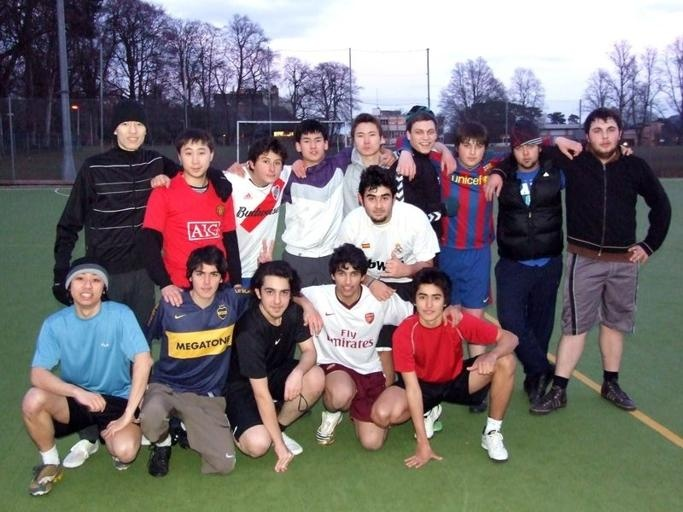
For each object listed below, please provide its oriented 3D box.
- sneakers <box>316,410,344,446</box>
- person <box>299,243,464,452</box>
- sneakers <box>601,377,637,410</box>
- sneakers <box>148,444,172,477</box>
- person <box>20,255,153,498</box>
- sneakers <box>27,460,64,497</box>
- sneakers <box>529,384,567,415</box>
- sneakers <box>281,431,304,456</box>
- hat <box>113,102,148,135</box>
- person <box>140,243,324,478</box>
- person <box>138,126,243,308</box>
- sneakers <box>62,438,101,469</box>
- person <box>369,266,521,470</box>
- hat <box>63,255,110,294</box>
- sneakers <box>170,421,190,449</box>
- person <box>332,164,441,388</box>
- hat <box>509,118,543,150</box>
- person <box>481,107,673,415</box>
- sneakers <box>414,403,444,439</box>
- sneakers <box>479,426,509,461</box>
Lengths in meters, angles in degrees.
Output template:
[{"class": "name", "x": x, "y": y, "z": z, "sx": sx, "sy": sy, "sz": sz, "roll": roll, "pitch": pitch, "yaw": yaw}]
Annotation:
[{"class": "sneakers", "x": -0.107, "y": 1.433, "z": 5.055, "sx": 0.143, "sy": 0.161, "sz": 0.362, "roll": 4, "pitch": 25, "yaw": 12}, {"class": "person", "x": 0.337, "y": 0.844, "z": 5.063, "sx": 1.410, "sy": 1.497, "sz": 0.826, "roll": -1, "pitch": 13, "yaw": -6}, {"class": "sneakers", "x": 2.577, "y": 1.254, "z": 5.491, "sx": 0.131, "sy": 0.294, "sz": 0.387, "roll": -8, "pitch": 15, "yaw": -22}, {"class": "sneakers", "x": -1.443, "y": 1.623, "z": 4.640, "sx": 0.101, "sy": 0.126, "sz": 0.305, "roll": 26, "pitch": 4, "yaw": -19}, {"class": "person", "x": -2.021, "y": 0.927, "z": 4.584, "sx": 0.993, "sy": 1.673, "sz": 0.897, "roll": -5, "pitch": 9, "yaw": -42}, {"class": "sneakers", "x": -2.244, "y": 1.667, "z": 4.471, "sx": 0.132, "sy": 0.159, "sz": 0.351, "roll": -1, "pitch": 17, "yaw": 8}, {"class": "sneakers", "x": 1.919, "y": 1.327, "z": 5.410, "sx": 0.462, "sy": 0.214, "sz": 0.161, "roll": -5, "pitch": 11, "yaw": -38}, {"class": "sneakers", "x": -0.429, "y": 1.566, "z": 4.924, "sx": 0.102, "sy": 0.121, "sz": 0.282, "roll": -9, "pitch": 14, "yaw": -39}, {"class": "hat", "x": -1.868, "y": -1.201, "z": 5.164, "sx": 0.238, "sy": 0.209, "sz": 0.250, "roll": 3, "pitch": 9, "yaw": 29}, {"class": "person", "x": -1.188, "y": 0.810, "z": 4.756, "sx": 0.840, "sy": 1.720, "sz": 0.755, "roll": -2, "pitch": 12, "yaw": -10}, {"class": "person", "x": -1.296, "y": 0.079, "z": 5.265, "sx": 0.825, "sy": 2.392, "sz": 0.673, "roll": 0, "pitch": 11, "yaw": -20}, {"class": "sneakers", "x": -2.121, "y": 1.593, "z": 4.787, "sx": 0.118, "sy": 0.116, "sz": 0.293, "roll": 36, "pitch": 10, "yaw": 3}, {"class": "person", "x": 0.846, "y": 0.902, "z": 4.800, "sx": 1.008, "sy": 1.517, "sz": 1.120, "roll": -4, "pitch": 5, "yaw": 20}, {"class": "hat", "x": -1.997, "y": 0.107, "z": 4.607, "sx": 0.252, "sy": 0.218, "sz": 0.270, "roll": -1, "pitch": -30, "yaw": -22}, {"class": "sneakers", "x": -1.344, "y": 1.481, "z": 4.933, "sx": 0.140, "sy": 0.255, "sz": 0.103, "roll": -3, "pitch": 24, "yaw": 20}, {"class": "person", "x": 0.462, "y": 0.297, "z": 5.638, "sx": 0.908, "sy": 2.329, "sz": 0.866, "roll": -7, "pitch": 20, "yaw": -4}, {"class": "hat", "x": 1.726, "y": -1.149, "z": 5.513, "sx": 0.215, "sy": 0.219, "sz": 0.337, "roll": -8, "pitch": 11, "yaw": 25}, {"class": "person", "x": 2.430, "y": 0.043, "z": 5.388, "sx": 1.005, "sy": 2.727, "sz": 0.741, "roll": 3, "pitch": 12, "yaw": 11}, {"class": "sneakers", "x": 0.772, "y": 1.462, "z": 5.112, "sx": 0.132, "sy": 0.175, "sz": 0.377, "roll": -22, "pitch": 24, "yaw": 35}, {"class": "sneakers", "x": 1.257, "y": 1.537, "z": 4.841, "sx": 0.143, "sy": 0.185, "sz": 0.402, "roll": -2, "pitch": 7, "yaw": -5}]
